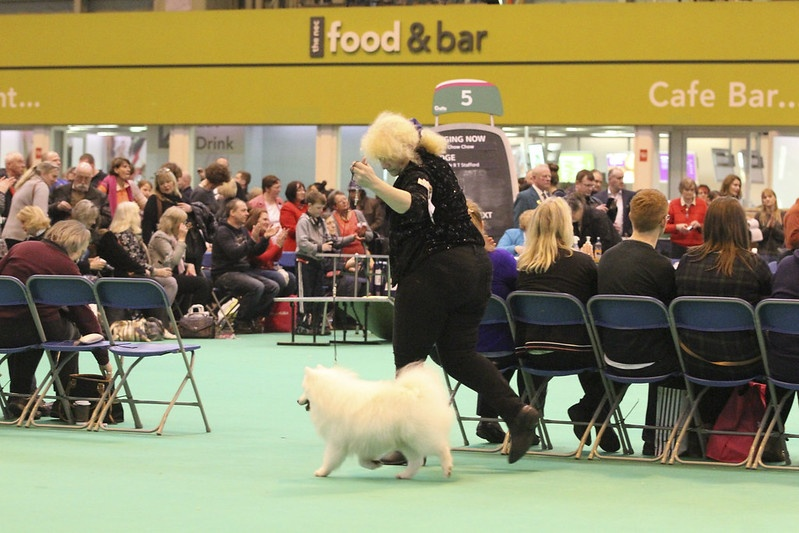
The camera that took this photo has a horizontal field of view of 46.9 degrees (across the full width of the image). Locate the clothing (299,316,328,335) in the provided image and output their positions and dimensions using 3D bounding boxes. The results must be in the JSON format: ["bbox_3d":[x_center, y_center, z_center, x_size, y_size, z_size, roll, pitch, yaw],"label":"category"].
[{"bbox_3d":[-1.258,0.847,13.606,0.263,0.178,0.411,1,-9,-3],"label":"clothing"}]

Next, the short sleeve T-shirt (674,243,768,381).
[{"bbox_3d":[2.416,0.351,7.614,0.718,1.014,1.029,0,5,16],"label":"short sleeve T-shirt"}]

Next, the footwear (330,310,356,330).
[{"bbox_3d":[-0.816,0.755,13.419,0.353,0.317,0.582,1,-10,1],"label":"footwear"}]

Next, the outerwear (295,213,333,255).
[{"bbox_3d":[-1.219,-0.460,13.279,0.588,0.603,0.614,-2,-1,22],"label":"outerwear"}]

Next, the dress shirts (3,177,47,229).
[{"bbox_3d":[-4.678,-0.843,11.590,0.519,0.593,0.432,0,3,-5],"label":"dress shirts"}]

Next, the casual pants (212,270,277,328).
[{"bbox_3d":[-2.136,0.381,13.087,0.871,0.787,0.701,-18,6,-3],"label":"casual pants"}]

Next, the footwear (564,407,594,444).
[{"bbox_3d":[1.520,1.269,7.774,0.143,0.436,0.182,-7,1,13],"label":"footwear"}]

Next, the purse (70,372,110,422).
[{"bbox_3d":[-2.808,1.148,8.258,0.454,0.429,0.338,3,-3,13],"label":"purse"}]

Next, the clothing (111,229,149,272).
[{"bbox_3d":[-3.318,-0.231,11.677,0.372,0.484,0.596,2,3,19],"label":"clothing"}]

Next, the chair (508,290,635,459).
[{"bbox_3d":[1.407,0.872,7.649,0.833,1.262,0.975,-2,-11,30],"label":"chair"}]

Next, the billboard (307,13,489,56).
[{"bbox_3d":[-0.634,-4.605,18.677,3.119,0.815,0.168,10,0,34],"label":"billboard"}]

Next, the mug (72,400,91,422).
[{"bbox_3d":[-2.834,1.285,8.349,0.188,0.179,0.183,1,-3,-4],"label":"mug"}]

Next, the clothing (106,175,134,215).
[{"bbox_3d":[-4.036,-1.064,13.619,0.318,0.462,0.309,-3,-18,27],"label":"clothing"}]

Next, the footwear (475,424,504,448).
[{"bbox_3d":[0.728,1.406,7.884,0.332,0.229,0.108,2,0,0],"label":"footwear"}]
